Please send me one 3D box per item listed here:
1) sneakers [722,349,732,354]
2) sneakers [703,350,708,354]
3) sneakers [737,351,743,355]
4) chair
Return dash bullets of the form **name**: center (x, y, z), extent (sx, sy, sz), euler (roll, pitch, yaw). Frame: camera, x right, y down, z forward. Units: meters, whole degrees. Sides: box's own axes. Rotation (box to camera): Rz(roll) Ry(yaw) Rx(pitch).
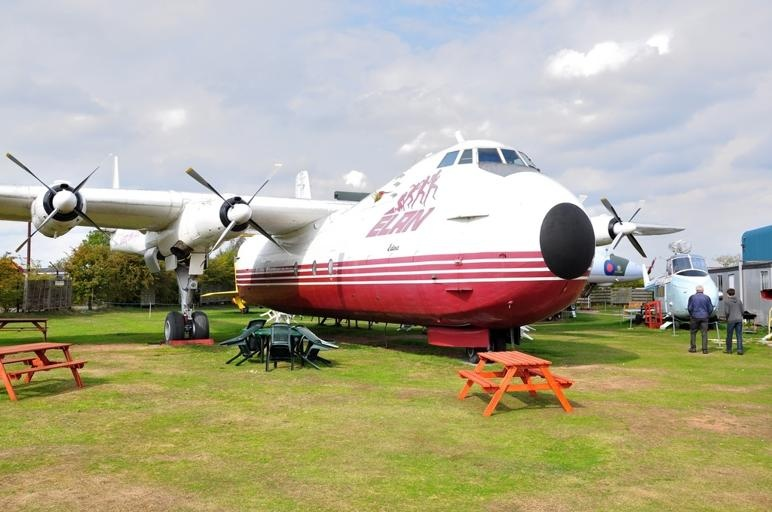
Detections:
- **sneakers**: center (9.611, 2.728, 14.688), extent (0.100, 0.085, 0.257), euler (3, -1, -43)
- **sneakers**: center (9.085, 2.745, 14.762), extent (0.142, 0.057, 0.122), euler (0, 1, 21)
- **sneakers**: center (9.824, 2.722, 14.373), extent (0.103, 0.095, 0.122), euler (-1, -10, -2)
- **chair**: center (-2.607, 2.172, 12.580), extent (2.457, 1.027, 1.502), euler (1, 2, 33)
